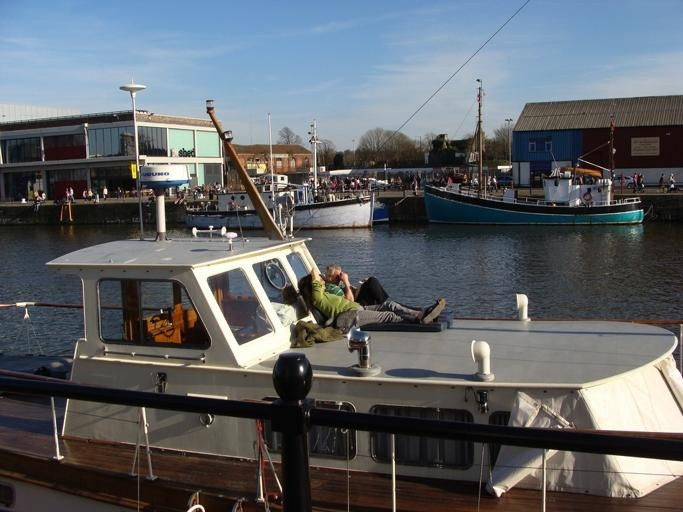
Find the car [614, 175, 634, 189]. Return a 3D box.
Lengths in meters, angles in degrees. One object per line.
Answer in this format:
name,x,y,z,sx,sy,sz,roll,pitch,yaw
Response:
car,19.157,-5.049,59.500,1.840,0.930,1.134,5,11,21

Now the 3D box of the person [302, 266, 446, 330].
person,0.416,0.559,10.486,1.599,0.807,0.751,0,11,12

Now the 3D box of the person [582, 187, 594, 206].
person,13.447,-3.261,47.697,0.212,0.892,0.613,13,-13,-40
